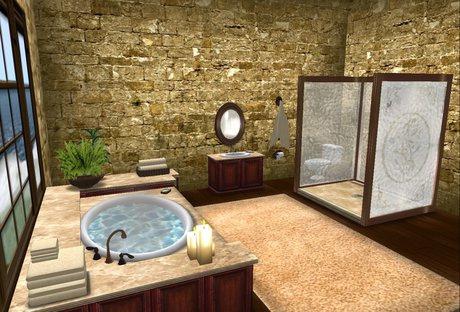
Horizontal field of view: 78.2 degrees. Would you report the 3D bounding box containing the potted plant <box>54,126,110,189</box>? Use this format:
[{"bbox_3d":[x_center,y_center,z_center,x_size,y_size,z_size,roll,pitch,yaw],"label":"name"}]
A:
[{"bbox_3d":[-2.088,0.071,4.019,0.651,0.808,0.659,18,18,24],"label":"potted plant"}]

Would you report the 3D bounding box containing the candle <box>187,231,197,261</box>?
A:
[{"bbox_3d":[-0.326,0.770,2.444,0.073,0.265,0.138,-6,16,-19],"label":"candle"}]

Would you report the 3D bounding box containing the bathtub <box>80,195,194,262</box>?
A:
[{"bbox_3d":[-1.134,0.830,3.502,1.175,0.447,0.905,-4,14,-15],"label":"bathtub"}]

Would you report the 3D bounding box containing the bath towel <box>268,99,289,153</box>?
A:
[{"bbox_3d":[1.033,-0.632,5.838,0.420,0.980,0.122,-4,15,-14],"label":"bath towel"}]

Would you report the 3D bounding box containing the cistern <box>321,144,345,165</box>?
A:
[{"bbox_3d":[1.993,-0.068,5.589,0.445,0.411,0.448,-6,9,-41],"label":"cistern"}]

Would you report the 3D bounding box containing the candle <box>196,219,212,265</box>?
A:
[{"bbox_3d":[-0.210,0.755,2.432,0.154,0.316,0.146,-2,-9,2],"label":"candle"}]

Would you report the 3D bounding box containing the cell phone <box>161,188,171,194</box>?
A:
[{"bbox_3d":[-0.893,0.490,3.928,0.120,0.026,0.126,-1,14,-4],"label":"cell phone"}]
